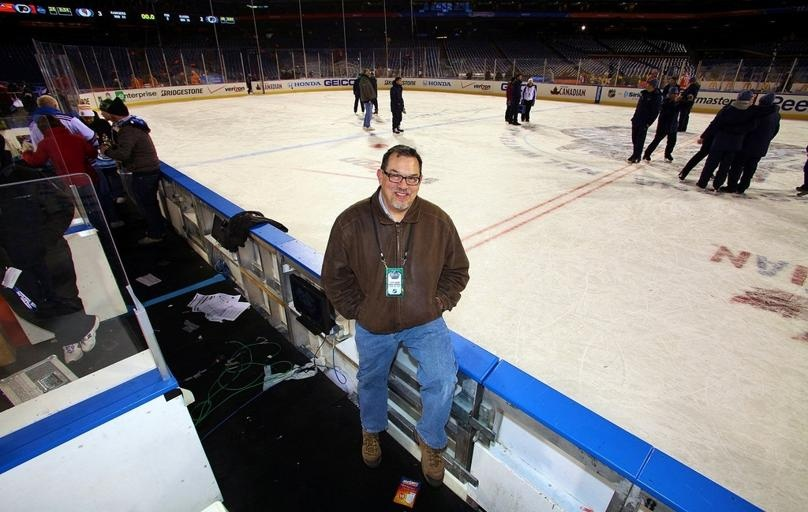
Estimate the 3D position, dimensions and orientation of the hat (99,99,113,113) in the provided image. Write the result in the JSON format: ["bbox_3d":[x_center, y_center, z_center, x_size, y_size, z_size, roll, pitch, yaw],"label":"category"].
[{"bbox_3d":[-4.040,-2.043,5.843,0.135,0.195,0.245,-22,34,-35],"label":"hat"}]

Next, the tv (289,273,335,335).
[{"bbox_3d":[-0.873,0.438,4.118,0.601,0.402,0.199,33,45,29],"label":"tv"}]

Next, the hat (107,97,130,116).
[{"bbox_3d":[-3.921,-2.080,5.964,0.312,0.247,0.341,-11,40,-24],"label":"hat"}]

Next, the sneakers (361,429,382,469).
[{"bbox_3d":[-0.293,1.683,3.743,0.146,0.147,0.349,0,5,-7],"label":"sneakers"}]

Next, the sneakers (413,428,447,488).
[{"bbox_3d":[0.204,1.696,3.730,0.203,0.212,0.553,4,25,-22],"label":"sneakers"}]

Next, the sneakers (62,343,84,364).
[{"bbox_3d":[-2.288,0.670,2.969,0.134,0.093,0.132,-8,6,34],"label":"sneakers"}]

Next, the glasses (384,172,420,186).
[{"bbox_3d":[-0.009,-0.598,3.302,0.278,0.099,0.092,-4,27,-8],"label":"glasses"}]

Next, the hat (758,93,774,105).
[{"bbox_3d":[6.302,-2.723,7.458,0.185,0.189,0.437,20,32,35],"label":"hat"}]

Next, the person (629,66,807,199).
[{"bbox_3d":[6.031,-2.072,7.910,1.086,1.803,0.668,19,34,32],"label":"person"}]

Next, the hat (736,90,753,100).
[{"bbox_3d":[6.030,-2.827,7.575,0.173,0.148,0.216,13,29,24],"label":"hat"}]
